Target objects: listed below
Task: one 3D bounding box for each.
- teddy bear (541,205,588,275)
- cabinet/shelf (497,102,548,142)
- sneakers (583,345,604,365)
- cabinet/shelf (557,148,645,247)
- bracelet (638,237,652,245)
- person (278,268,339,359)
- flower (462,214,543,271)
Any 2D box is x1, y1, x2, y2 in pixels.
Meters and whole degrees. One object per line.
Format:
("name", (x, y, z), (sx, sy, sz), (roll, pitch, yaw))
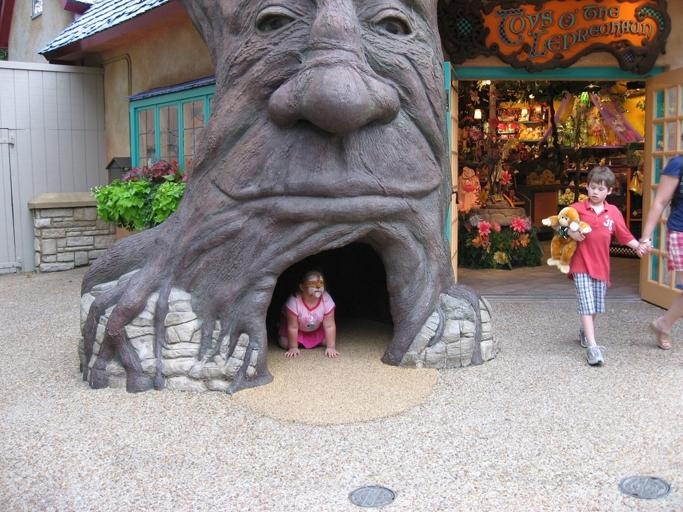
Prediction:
("teddy bear", (2.089, -0.149, 5.105), (0.370, 0.572, 0.442), (3, 13, -43))
("cabinet/shelf", (4.194, -3.126, 12.731), (1.205, 1.190, 0.399), (0, 0, 1))
("sneakers", (2.298, 0.895, 4.987), (0.091, 0.114, 0.241), (-3, -1, 7))
("cabinet/shelf", (2.453, -0.443, 5.062), (0.661, 0.773, 0.643), (3, 12, 18))
("bracelet", (2.735, -0.137, 4.931), (0.057, 0.041, 0.101), (-2, -4, 39))
("person", (-0.332, 0.509, 5.201), (0.572, 0.835, 0.410), (-1, 11, -1))
("flower", (2.810, -0.224, 9.869), (1.054, 0.604, 1.074), (-3, 11, -23))
